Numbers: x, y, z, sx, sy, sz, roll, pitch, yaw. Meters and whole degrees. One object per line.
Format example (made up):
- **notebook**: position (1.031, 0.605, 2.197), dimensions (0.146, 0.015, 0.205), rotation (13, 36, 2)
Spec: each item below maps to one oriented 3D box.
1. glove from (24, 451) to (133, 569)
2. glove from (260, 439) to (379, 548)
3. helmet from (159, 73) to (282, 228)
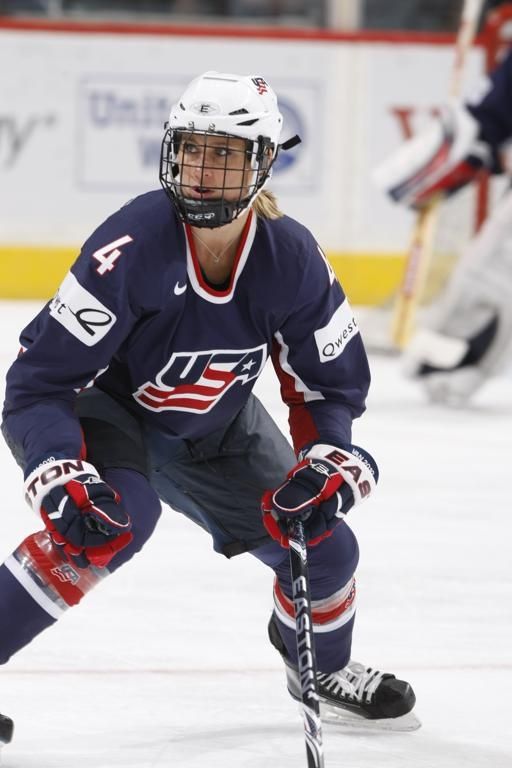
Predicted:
- **glove**: position (-0.257, 0.161, 1.112), dimensions (0.135, 0.077, 0.164), rotation (-10, 71, -50)
- **glove**: position (0.098, 0.160, 1.315), dimensions (0.125, 0.086, 0.219), rotation (43, 46, 17)
- **helmet**: position (-0.049, -0.356, 1.258), dimensions (0.224, 0.237, 0.190), rotation (-4, 14, -19)
